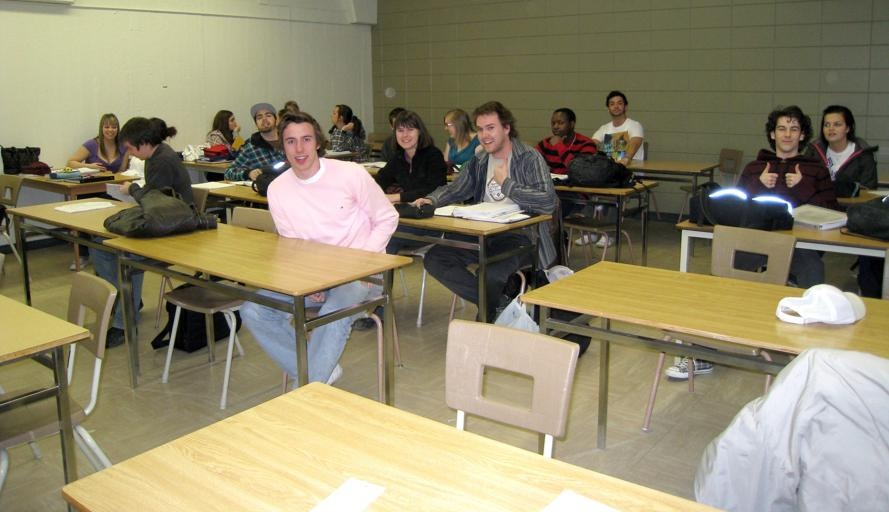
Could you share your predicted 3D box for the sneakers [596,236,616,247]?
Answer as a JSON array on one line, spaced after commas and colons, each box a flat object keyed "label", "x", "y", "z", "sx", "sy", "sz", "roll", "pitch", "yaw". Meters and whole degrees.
[{"label": "sneakers", "x": 1.939, "y": -0.151, "z": 7.525, "sx": 0.162, "sy": 0.104, "sz": 0.298, "roll": 0, "pitch": 3, "yaw": 29}]

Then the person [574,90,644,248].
[{"label": "person", "x": 2.103, "y": -1.187, "z": 8.070, "sx": 1.111, "sy": 1.790, "sz": 0.849, "roll": -11, "pitch": 13, "yaw": -44}]

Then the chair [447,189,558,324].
[{"label": "chair", "x": 0.451, "y": -0.123, "z": 5.422, "sx": 1.171, "sy": 1.023, "sz": 1.065, "roll": 7, "pitch": 16, "yaw": 40}]

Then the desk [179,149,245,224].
[{"label": "desk", "x": -2.340, "y": -0.693, "z": 6.301, "sx": 1.008, "sy": 0.611, "sz": 0.655, "roll": 12, "pitch": 17, "yaw": 39}]

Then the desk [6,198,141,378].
[{"label": "desk", "x": -2.808, "y": 0.247, "z": 4.735, "sx": 1.493, "sy": 0.696, "sz": 0.587, "roll": 13, "pitch": 17, "yaw": 38}]

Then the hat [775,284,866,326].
[{"label": "hat", "x": 2.006, "y": 0.279, "z": 3.297, "sx": 0.358, "sy": 0.130, "sz": 0.245, "roll": -2, "pitch": 4, "yaw": 3}]

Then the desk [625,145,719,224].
[{"label": "desk", "x": 2.764, "y": -1.012, "z": 7.502, "sx": 1.213, "sy": 0.577, "sz": 0.889, "roll": 10, "pitch": 19, "yaw": 39}]

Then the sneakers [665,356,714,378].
[{"label": "sneakers", "x": 1.850, "y": 0.848, "z": 4.812, "sx": 0.450, "sy": 0.176, "sz": 0.147, "roll": -1, "pitch": 4, "yaw": -17}]

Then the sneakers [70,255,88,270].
[{"label": "sneakers", "x": -4.114, "y": 0.097, "z": 7.006, "sx": 0.145, "sy": 0.145, "sz": 0.376, "roll": 0, "pitch": 6, "yaw": -2}]

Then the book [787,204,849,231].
[{"label": "book", "x": 2.803, "y": -0.324, "z": 4.666, "sx": 0.269, "sy": 0.059, "sz": 0.261, "roll": -16, "pitch": 22, "yaw": -38}]

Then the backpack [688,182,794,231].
[{"label": "backpack", "x": 2.267, "y": -0.343, "z": 4.741, "sx": 0.561, "sy": 0.225, "sz": 0.402, "roll": 9, "pitch": 14, "yaw": 35}]

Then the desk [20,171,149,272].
[{"label": "desk", "x": -3.333, "y": -0.318, "z": 5.773, "sx": 1.099, "sy": 0.660, "sz": 0.607, "roll": 12, "pitch": 16, "yaw": 33}]

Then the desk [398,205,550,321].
[{"label": "desk", "x": 0.550, "y": 0.075, "z": 5.398, "sx": 0.952, "sy": 0.716, "sz": 0.951, "roll": -16, "pitch": -5, "yaw": 29}]

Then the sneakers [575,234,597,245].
[{"label": "sneakers", "x": 1.717, "y": -0.181, "z": 7.596, "sx": 0.159, "sy": 0.135, "sz": 0.366, "roll": 1, "pitch": 2, "yaw": 44}]

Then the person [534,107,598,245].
[{"label": "person", "x": 1.461, "y": -1.114, "z": 7.469, "sx": 0.934, "sy": 1.201, "sz": 0.833, "roll": -3, "pitch": 9, "yaw": 21}]
